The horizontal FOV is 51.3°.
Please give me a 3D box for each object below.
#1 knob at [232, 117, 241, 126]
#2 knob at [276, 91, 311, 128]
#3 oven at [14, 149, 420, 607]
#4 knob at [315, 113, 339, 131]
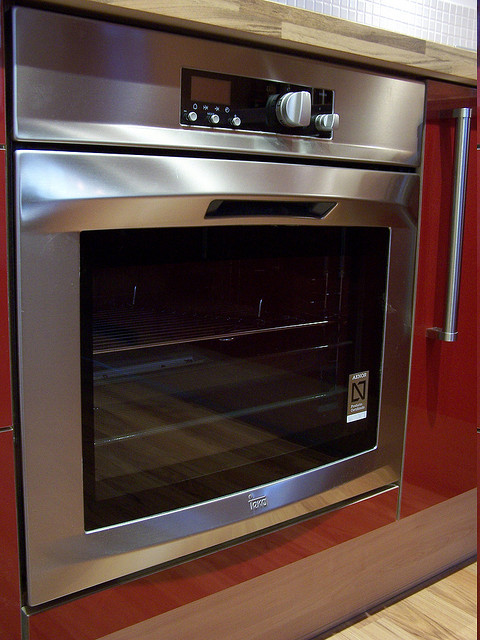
[{"bbox_3d":[-0.004,-0.257,0.650,0.003,0.010,0.010,5,10,32],"label":"knob"},{"bbox_3d":[0.070,-0.280,0.662,0.029,0.053,0.053,5,7,38],"label":"knob"},{"bbox_3d":[-0.057,0.025,0.918,0.716,0.582,0.412,-7,13,-36],"label":"oven"},{"bbox_3d":[0.128,-0.290,0.731,0.038,0.024,0.030,0,10,1],"label":"knob"}]
